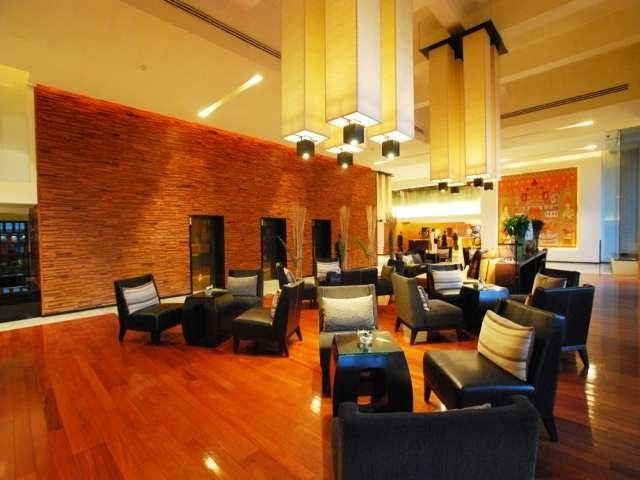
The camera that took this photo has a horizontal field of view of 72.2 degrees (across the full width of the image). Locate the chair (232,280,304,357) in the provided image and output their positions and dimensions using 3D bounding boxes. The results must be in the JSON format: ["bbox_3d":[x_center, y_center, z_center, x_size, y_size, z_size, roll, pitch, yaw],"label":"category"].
[{"bbox_3d":[-0.832,1.142,7.267,1.001,1.214,1.116,3,0,9],"label":"chair"}]

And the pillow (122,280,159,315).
[{"bbox_3d":[-3.014,0.950,7.359,0.121,0.435,0.640,-20,-4,28],"label":"pillow"}]

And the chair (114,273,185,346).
[{"bbox_3d":[-2.862,1.097,7.473,0.845,1.005,1.070,-3,2,3],"label":"chair"}]

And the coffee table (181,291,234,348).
[{"bbox_3d":[-1.857,1.193,7.495,0.653,0.948,1.095,1,18,0],"label":"coffee table"}]

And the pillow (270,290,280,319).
[{"bbox_3d":[-0.688,0.964,6.753,0.094,0.349,0.325,10,-12,-14],"label":"pillow"}]

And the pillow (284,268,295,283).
[{"bbox_3d":[-0.593,0.694,8.753,0.090,0.273,0.202,-11,-4,-25],"label":"pillow"}]

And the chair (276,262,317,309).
[{"bbox_3d":[-0.455,0.892,8.820,0.812,0.955,0.860,1,1,-4],"label":"chair"}]

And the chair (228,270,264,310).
[{"bbox_3d":[-1.410,0.907,8.168,0.600,0.681,0.664,-1,0,-1],"label":"chair"}]

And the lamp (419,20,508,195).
[{"bbox_3d":[2.381,-2.120,7.361,1.308,2.548,0.790,-1,2,21],"label":"lamp"}]
